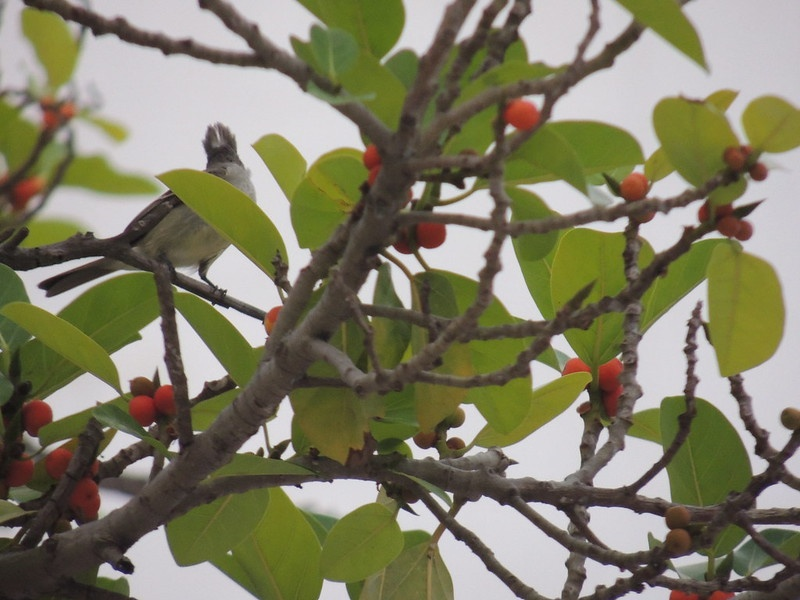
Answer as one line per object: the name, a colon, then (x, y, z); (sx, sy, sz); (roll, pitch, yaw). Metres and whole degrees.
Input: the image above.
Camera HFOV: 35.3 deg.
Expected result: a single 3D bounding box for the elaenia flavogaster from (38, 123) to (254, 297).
elaenia flavogaster: (-0.879, -0.279, 4.336); (0.788, 0.555, 0.322); (-14, -24, 18)
